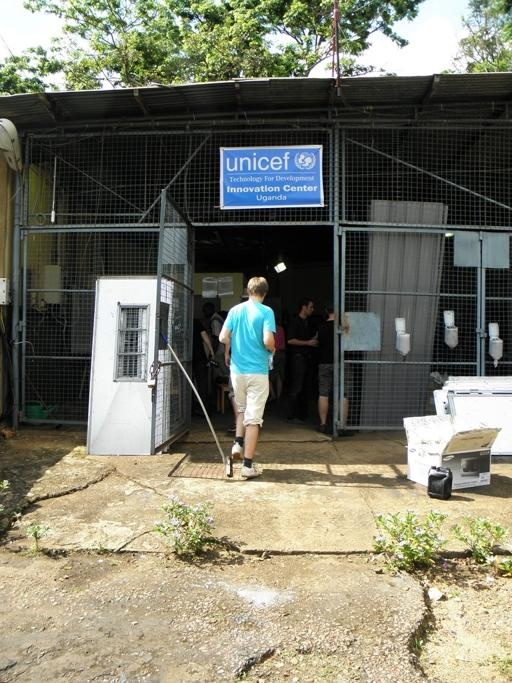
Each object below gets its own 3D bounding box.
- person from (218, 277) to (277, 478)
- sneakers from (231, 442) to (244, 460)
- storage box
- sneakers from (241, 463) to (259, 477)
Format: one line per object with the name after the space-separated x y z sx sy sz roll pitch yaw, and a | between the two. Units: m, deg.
-0.059 0.282 4.462 0.383 1.664 0.552 1 0 -39 | person
-0.161 0.939 4.473 0.070 0.091 0.197 2 -28 0 | sneakers
1.493 0.877 4.190 0.646 0.459 0.664 2 -2 -12 | storage box
-0.039 1.061 4.369 0.070 0.085 0.183 5 4 36 | sneakers
